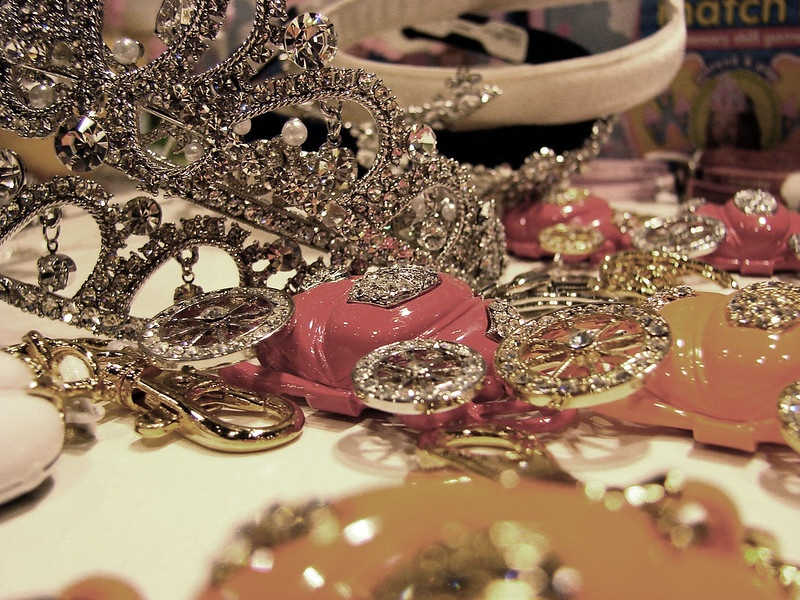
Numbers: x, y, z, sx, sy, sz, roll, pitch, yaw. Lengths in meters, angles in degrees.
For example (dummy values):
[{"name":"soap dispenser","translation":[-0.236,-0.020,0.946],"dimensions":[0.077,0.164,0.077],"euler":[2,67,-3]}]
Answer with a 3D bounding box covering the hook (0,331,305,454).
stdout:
[{"name":"hook","translation":[-0.220,0.082,0.685],"dimensions":[0.217,0.028,0.125],"euler":[18,26,25]}]
